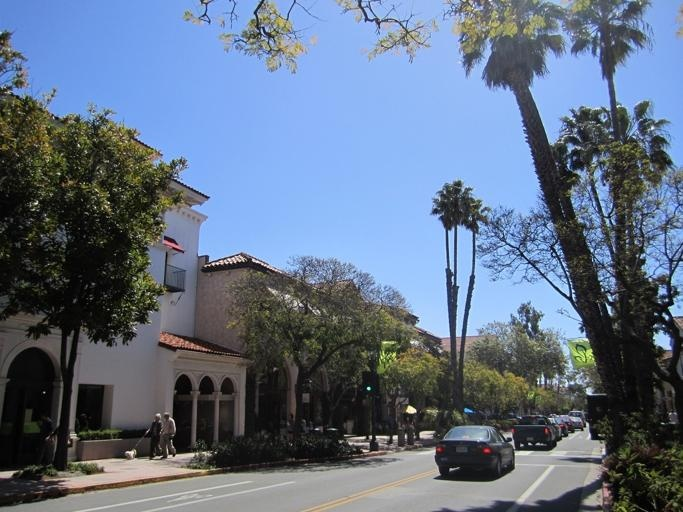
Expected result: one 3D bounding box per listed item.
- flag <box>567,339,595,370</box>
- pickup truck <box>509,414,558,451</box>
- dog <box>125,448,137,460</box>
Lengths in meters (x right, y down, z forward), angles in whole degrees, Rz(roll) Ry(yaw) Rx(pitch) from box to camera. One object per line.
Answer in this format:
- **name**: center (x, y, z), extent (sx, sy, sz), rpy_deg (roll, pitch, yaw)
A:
- **flag**: center (13.825, 5.454, 30.477), extent (1.171, 1.669, 1.988), rpy_deg (-9, -19, 23)
- **pickup truck**: center (11.464, 10.488, 31.326), extent (1.593, 1.515, 3.576), rpy_deg (-4, -9, 23)
- **dog**: center (-9.039, 8.486, 22.754), extent (0.387, 0.325, 0.586), rpy_deg (1, -13, 0)
